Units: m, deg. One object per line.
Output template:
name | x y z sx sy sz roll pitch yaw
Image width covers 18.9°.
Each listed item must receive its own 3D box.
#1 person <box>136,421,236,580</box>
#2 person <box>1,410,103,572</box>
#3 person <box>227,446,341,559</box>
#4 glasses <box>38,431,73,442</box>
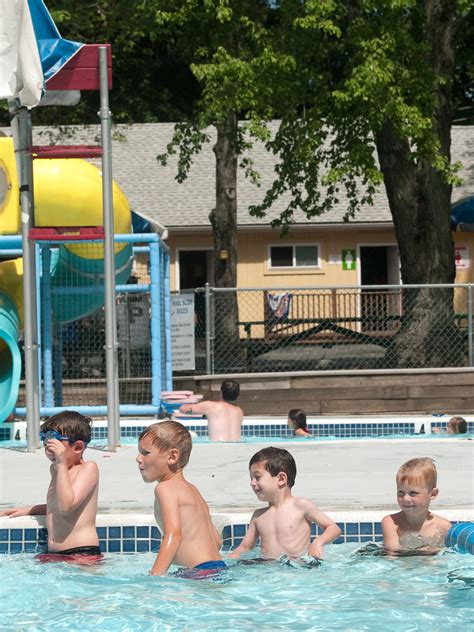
person | -0.346 1.139 8.849 0.532 0.963 0.291 0 -3 -42
person | -1.135 1.117 9.316 0.428 0.976 0.625 -1 -3 -22
person | 0.264 1.253 9.445 0.681 0.941 0.624 6 -10 -35
glasses | -1.208 0.783 9.232 0.132 0.080 0.294 0 -4 -45
